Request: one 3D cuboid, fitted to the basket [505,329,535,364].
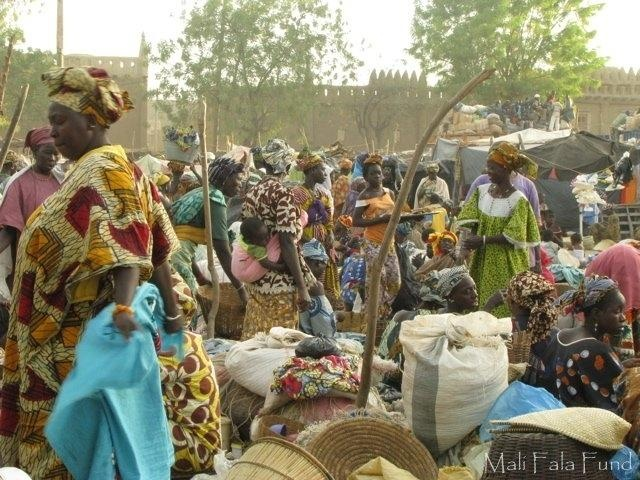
[{"bbox_3d":[1.346,0.735,4.850,0.185,0.169,0.221,0,-5,0],"label":"basket"}]
